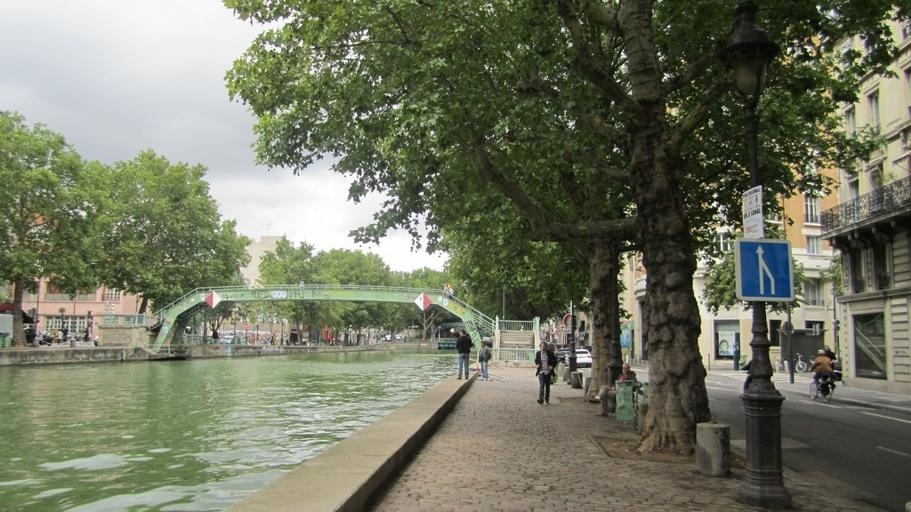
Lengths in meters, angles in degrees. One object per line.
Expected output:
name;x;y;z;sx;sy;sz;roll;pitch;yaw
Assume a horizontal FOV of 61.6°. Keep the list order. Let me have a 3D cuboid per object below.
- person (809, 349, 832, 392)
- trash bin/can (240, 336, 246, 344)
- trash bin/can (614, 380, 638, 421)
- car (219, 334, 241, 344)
person;17.063;5.274;35.677;0.993;1.603;0.987;-7;-9;34
trash bin/can;-26.428;10.543;94.987;0.715;0.666;1.275;8;-6;-13
trash bin/can;6.041;5.110;26.898;0.734;1.311;0.593;-2;-11;5
car;-26.909;10.046;91.294;1.116;0.802;1.545;-3;-19;15
